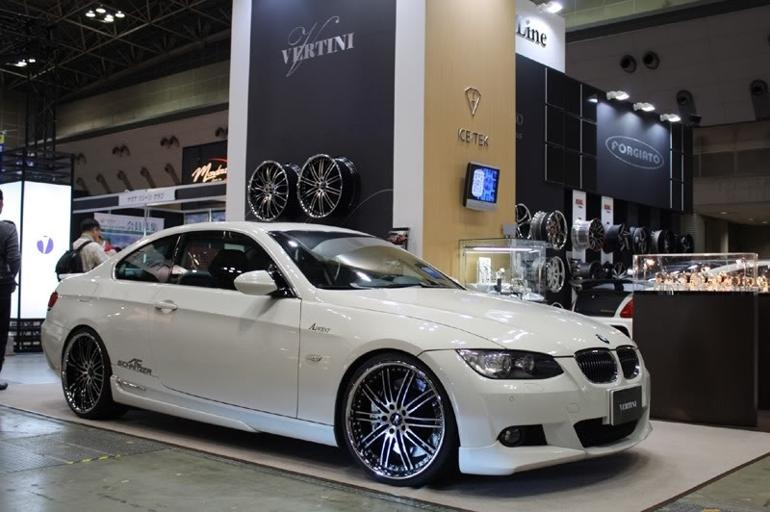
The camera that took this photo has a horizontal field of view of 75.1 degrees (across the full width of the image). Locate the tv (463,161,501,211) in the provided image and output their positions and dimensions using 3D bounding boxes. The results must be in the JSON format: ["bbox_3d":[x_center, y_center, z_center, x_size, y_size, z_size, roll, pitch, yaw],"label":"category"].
[{"bbox_3d":[1.754,-1.282,9.182,0.122,0.829,0.972,2,0,42],"label":"tv"}]

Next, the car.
[{"bbox_3d":[-0.736,0.691,4.329,4.815,1.524,2.091,0,-1,33],"label":"car"}]
